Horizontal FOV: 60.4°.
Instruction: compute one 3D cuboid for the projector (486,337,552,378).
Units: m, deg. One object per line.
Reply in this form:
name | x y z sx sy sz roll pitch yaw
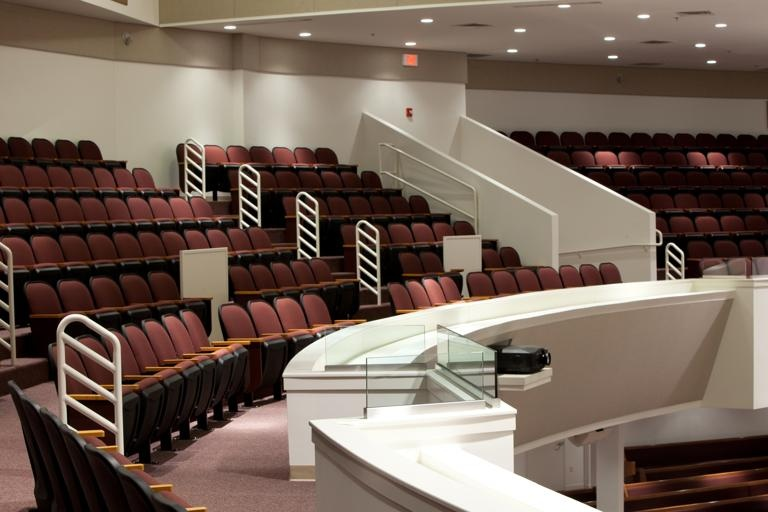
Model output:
projector | 1.045 0.766 5.324 0.560 0.342 0.643 2 3 10
